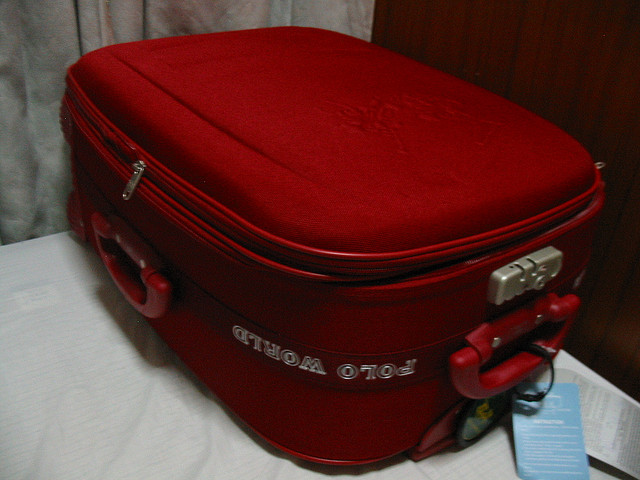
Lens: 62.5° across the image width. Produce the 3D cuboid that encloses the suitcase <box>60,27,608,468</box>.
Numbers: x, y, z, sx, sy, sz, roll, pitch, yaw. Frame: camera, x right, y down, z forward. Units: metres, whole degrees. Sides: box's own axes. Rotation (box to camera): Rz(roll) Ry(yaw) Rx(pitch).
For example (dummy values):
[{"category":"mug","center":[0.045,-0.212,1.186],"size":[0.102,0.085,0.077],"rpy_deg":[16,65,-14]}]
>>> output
[{"category":"suitcase","center":[-0.071,-0.010,0.875],"size":[0.626,0.330,0.743],"rpy_deg":[-18,43,-33]}]

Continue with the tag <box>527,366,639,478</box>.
[{"category":"tag","center":[0.398,0.283,0.810],"size":[0.151,0.074,0.202],"rpy_deg":[8,35,27]}]
